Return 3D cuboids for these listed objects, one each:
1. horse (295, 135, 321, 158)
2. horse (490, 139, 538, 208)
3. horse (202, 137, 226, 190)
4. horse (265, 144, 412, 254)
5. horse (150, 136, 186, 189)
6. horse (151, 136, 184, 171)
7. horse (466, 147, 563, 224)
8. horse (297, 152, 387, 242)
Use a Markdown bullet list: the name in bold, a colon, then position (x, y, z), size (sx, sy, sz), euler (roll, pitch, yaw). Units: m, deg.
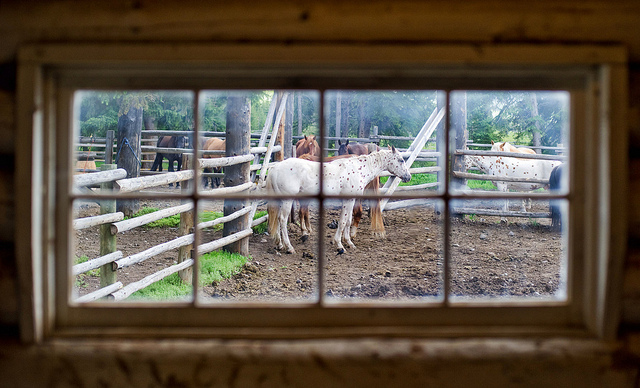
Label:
- **horse**: position (-0.219, -0.753, 9.925), size (0.300, 0.431, 0.836), euler (-2, 5, -7)
- **horse**: position (3.046, -0.343, 9.956), size (0.600, 1.001, 1.533), euler (3, 7, 17)
- **horse**: position (-2.236, -0.670, 12.992), size (0.435, 0.959, 1.777), euler (0, 7, -10)
- **horse**: position (0.192, 0.060, 7.378), size (1.756, 1.226, 0.424), euler (-1, -8, -3)
- **horse**: position (-3.073, -0.770, 12.618), size (0.330, 0.843, 1.460), euler (5, -1, -36)
- **horse**: position (-3.065, -0.834, 12.650), size (0.377, 0.786, 1.530), euler (6, -2, -38)
- **horse**: position (2.952, -0.161, 9.483), size (1.747, 1.138, 0.433), euler (1, 7, 28)
- **horse**: position (0.162, 0.025, 8.012), size (1.590, 1.041, 0.388), euler (3, -6, 25)
